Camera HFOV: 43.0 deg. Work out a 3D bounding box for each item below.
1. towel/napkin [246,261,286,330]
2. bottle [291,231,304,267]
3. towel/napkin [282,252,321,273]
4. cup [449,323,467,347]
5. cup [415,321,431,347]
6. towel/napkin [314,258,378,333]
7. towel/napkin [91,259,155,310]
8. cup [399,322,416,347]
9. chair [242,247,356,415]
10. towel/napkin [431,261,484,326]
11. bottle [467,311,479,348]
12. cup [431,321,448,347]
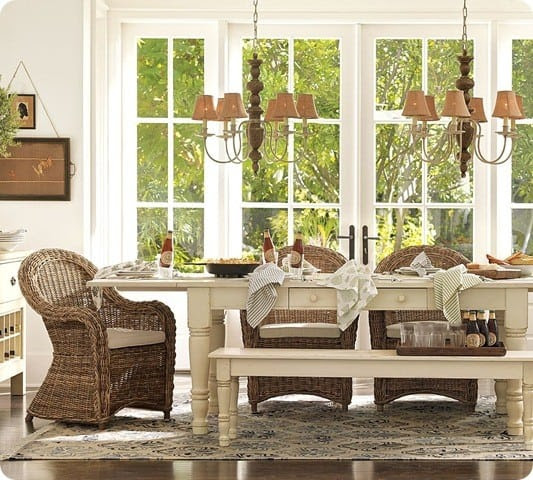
[{"bbox_3d":[0.006,0.295,3.649,0.210,0.314,0.261,-3,5,2],"label":"towel/napkin"},{"bbox_3d":[0.184,0.060,3.921,0.068,0.203,0.226,-2,5,5],"label":"bottle"},{"bbox_3d":[0.196,0.144,3.926,0.142,0.152,0.150,2,-3,-2],"label":"towel/napkin"},{"bbox_3d":[0.985,0.498,3.545,0.104,0.126,0.106,2,-3,0],"label":"cup"},{"bbox_3d":[0.803,0.490,3.460,0.087,0.117,0.067,-2,5,10],"label":"cup"},{"bbox_3d":[0.436,0.304,3.642,0.301,0.353,0.222,-3,5,-8],"label":"towel/napkin"},{"bbox_3d":[-0.791,0.224,3.835,0.316,0.138,0.327,-1,11,24],"label":"towel/napkin"},{"bbox_3d":[0.739,0.500,3.554,0.103,0.131,0.104,1,4,0],"label":"cup"},{"bbox_3d":[0.229,0.565,4.420,1.007,1.241,0.887,1,-8,1],"label":"chair"},{"bbox_3d":[1.016,0.291,3.617,0.283,0.276,0.188,-6,6,-36],"label":"towel/napkin"},{"bbox_3d":[1.067,0.477,3.496,0.076,0.182,0.187,-1,5,17],"label":"bottle"},{"bbox_3d":[0.912,0.505,3.522,0.074,0.161,0.241,-1,5,19],"label":"cup"}]
